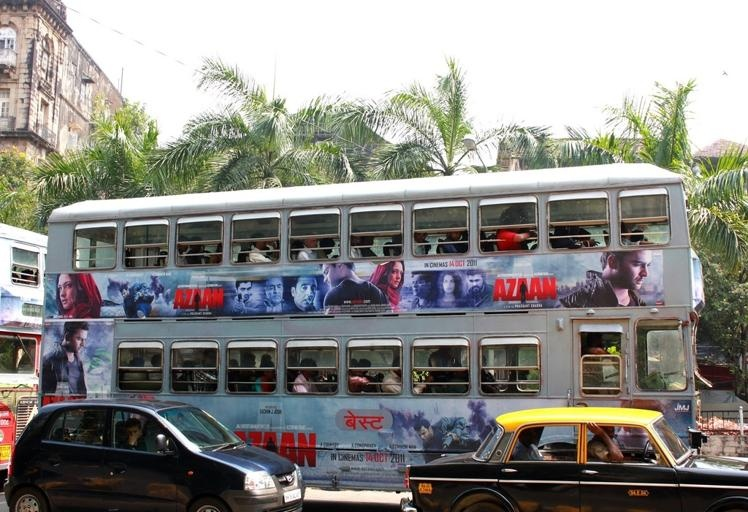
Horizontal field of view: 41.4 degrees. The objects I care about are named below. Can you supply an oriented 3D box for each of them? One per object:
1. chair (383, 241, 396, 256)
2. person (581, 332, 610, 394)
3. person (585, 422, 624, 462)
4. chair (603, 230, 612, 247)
[{"bbox_3d":[0.349,-0.158,21.752,0.271,0.249,0.447,5,-11,-1],"label":"chair"},{"bbox_3d":[4.587,2.217,20.773,0.632,1.147,0.257,1,-3,5],"label":"person"},{"bbox_3d":[4.211,3.476,18.349,0.512,0.565,0.913,-12,4,-5],"label":"person"},{"bbox_3d":[4.899,-0.381,20.863,0.099,0.284,0.195,-1,4,-16],"label":"chair"}]
